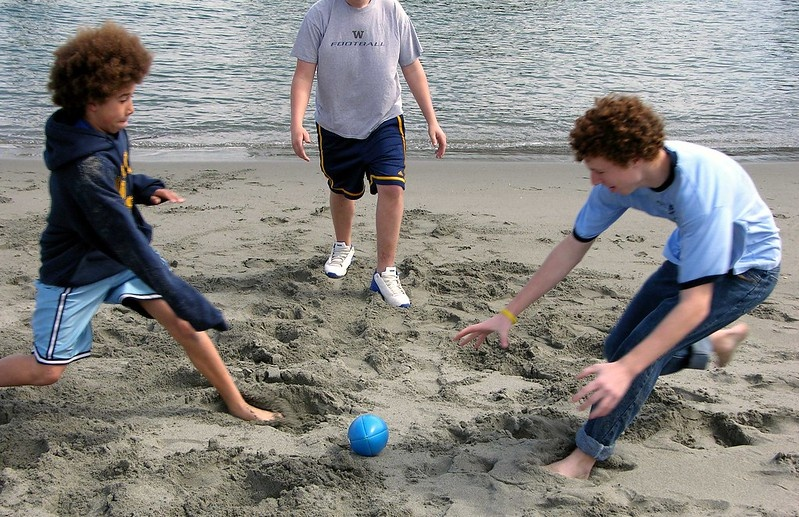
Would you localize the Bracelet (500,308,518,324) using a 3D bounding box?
[{"bbox_3d":[0.752,0.393,5.485,0.108,0.037,0.105,36,5,4],"label":"Bracelet"}]

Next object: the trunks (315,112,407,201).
[{"bbox_3d":[-0.444,-0.937,7.289,0.898,0.670,0.458,-13,2,-21],"label":"trunks"}]

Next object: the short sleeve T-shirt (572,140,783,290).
[{"bbox_3d":[1.926,-0.284,5.437,1.214,0.839,1.328,4,3,-20],"label":"short sleeve T-shirt"}]

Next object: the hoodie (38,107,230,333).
[{"bbox_3d":[-1.877,-0.304,5.445,1.188,1.280,0.814,6,27,-6],"label":"hoodie"}]
